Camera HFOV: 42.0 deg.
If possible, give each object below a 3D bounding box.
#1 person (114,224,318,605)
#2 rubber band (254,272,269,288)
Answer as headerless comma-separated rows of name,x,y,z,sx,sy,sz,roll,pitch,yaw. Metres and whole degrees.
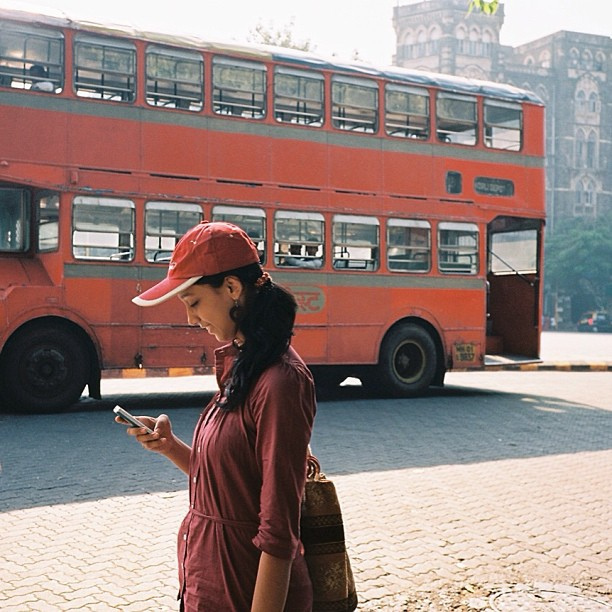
person,-0.192,0.331,2.406,0.437,1.156,0.519,-3,5,-25
rubber band,-0.134,-0.078,2.542,0.042,0.050,0.015,25,-16,29
